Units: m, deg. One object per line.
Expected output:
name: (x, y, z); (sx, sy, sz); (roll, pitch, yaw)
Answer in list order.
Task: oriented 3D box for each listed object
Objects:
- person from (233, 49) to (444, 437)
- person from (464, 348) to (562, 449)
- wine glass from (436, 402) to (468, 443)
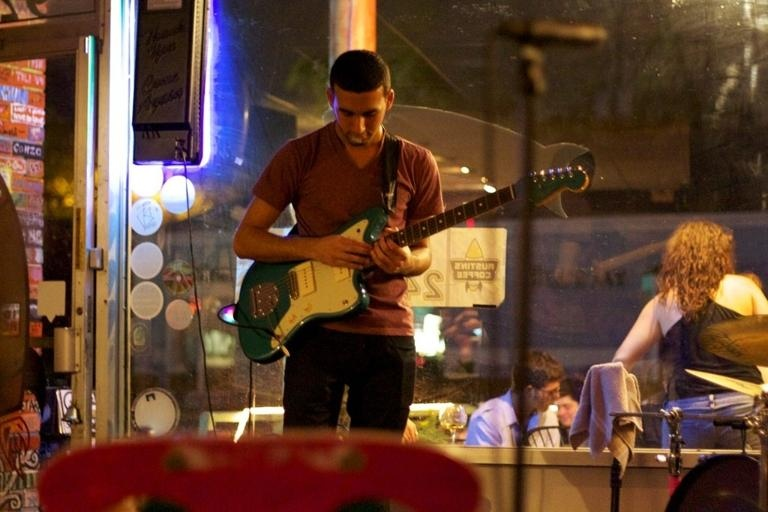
person: (-0.202, -0.075, 5.250); (0.976, 1.867, 0.363); (2, -4, 2)
person: (0.803, 0.793, 6.270); (0.295, 0.282, 0.794); (-33, -31, -9)
wine glass: (0.409, 1.003, 6.257); (0.196, 0.289, 0.180); (1, -1, -17)
